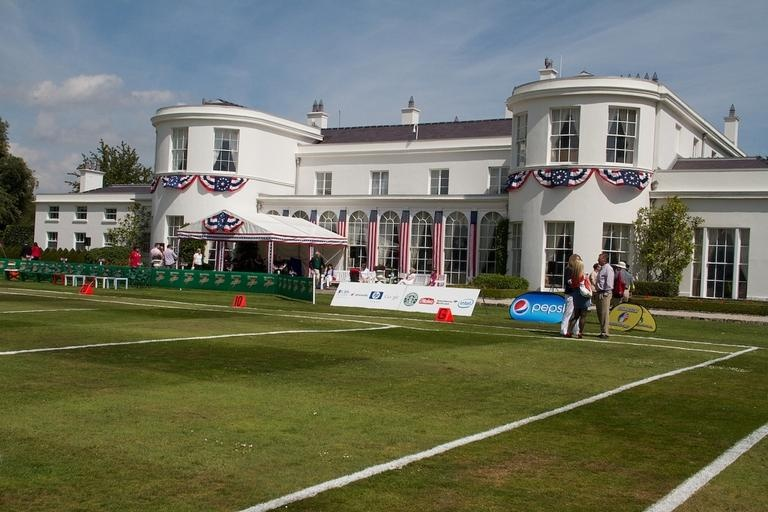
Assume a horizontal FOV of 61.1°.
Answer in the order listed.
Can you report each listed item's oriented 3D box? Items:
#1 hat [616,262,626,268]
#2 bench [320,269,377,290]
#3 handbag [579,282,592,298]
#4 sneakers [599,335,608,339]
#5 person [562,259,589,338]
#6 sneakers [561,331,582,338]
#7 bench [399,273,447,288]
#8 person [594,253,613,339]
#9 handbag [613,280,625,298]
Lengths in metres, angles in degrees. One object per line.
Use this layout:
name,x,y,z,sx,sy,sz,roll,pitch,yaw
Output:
hat,8.754,0.345,24.067,0.284,0.110,0.289,0,5,-21
bench,-2.023,1.314,36.048,3.252,0.811,2.972,3,-2,8
handbag,5.241,0.898,17.029,0.280,0.158,0.366,17,5,-43
sneakers,6.003,2.219,17.737,0.080,0.100,0.223,-1,-11,2
person,5.185,1.101,17.513,0.662,2.234,1.160,3,-2,9
sneakers,5.123,2.198,17.772,0.631,0.260,0.221,-2,-1,11
bench,2.296,1.257,35.534,1.742,0.443,5.208,3,-2,14
person,6.189,1.112,18.360,0.451,2.338,1.424,3,-2,19
handbag,7.404,1.063,20.594,0.354,0.457,0.295,2,-2,43
